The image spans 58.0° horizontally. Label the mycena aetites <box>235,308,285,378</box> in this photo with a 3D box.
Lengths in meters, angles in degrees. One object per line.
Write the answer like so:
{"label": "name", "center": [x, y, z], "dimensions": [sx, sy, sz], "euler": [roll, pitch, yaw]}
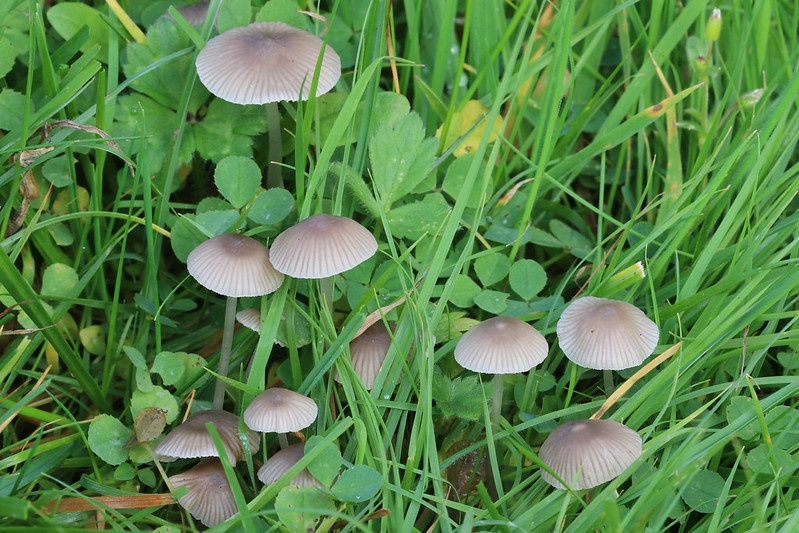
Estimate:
{"label": "mycena aetites", "center": [-0.520, 0.259, 2.575], "dimensions": [0.164, 0.060, 0.168], "euler": [26, 19, -40]}

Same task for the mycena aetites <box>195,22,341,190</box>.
{"label": "mycena aetites", "center": [-0.505, -0.678, 2.895], "dimensions": [0.515, 0.587, 0.517], "euler": [-36, 66, -23]}

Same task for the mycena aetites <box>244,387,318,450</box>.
{"label": "mycena aetites", "center": [-0.397, 0.512, 2.380], "dimensions": [0.225, 0.178, 0.260], "euler": [6, 15, 12]}

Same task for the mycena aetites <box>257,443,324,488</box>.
{"label": "mycena aetites", "center": [-0.352, 0.656, 2.379], "dimensions": [0.266, 0.104, 0.285], "euler": [2, -9, 33]}

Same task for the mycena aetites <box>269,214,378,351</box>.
{"label": "mycena aetites", "center": [-0.257, -0.063, 2.398], "dimensions": [0.358, 0.123, 0.210], "euler": [5, 51, -6]}

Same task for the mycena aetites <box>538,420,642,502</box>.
{"label": "mycena aetites", "center": [0.611, 0.580, 2.333], "dimensions": [0.342, 0.141, 0.361], "euler": [-18, 7, 31]}

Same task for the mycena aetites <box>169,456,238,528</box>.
{"label": "mycena aetites", "center": [-0.649, 0.723, 2.355], "dimensions": [0.169, 0.162, 0.223], "euler": [-21, 57, -23]}

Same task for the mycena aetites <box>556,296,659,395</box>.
{"label": "mycena aetites", "center": [0.692, 0.192, 2.438], "dimensions": [0.344, 0.125, 0.362], "euler": [-23, 31, -10]}

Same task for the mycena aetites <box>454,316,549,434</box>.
{"label": "mycena aetites", "center": [0.354, 0.381, 2.528], "dimensions": [0.325, 0.479, 0.340], "euler": [-1, 28, 15]}
